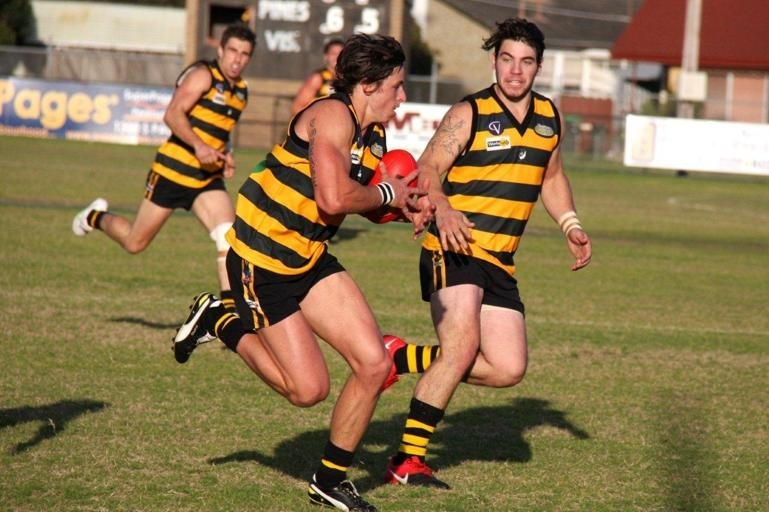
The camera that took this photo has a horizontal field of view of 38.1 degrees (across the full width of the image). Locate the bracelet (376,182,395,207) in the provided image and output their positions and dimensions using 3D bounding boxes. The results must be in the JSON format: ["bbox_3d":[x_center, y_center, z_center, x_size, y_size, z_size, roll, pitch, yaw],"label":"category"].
[{"bbox_3d":[0.026,-0.493,8.864,0.172,0.156,0.164,-12,37,-29],"label":"bracelet"}]

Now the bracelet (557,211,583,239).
[{"bbox_3d":[1.584,-0.267,9.674,0.185,0.216,0.231,-21,15,25],"label":"bracelet"}]

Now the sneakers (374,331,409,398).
[{"bbox_3d":[0.040,0.887,9.265,0.226,0.477,0.170,12,-10,13],"label":"sneakers"}]
